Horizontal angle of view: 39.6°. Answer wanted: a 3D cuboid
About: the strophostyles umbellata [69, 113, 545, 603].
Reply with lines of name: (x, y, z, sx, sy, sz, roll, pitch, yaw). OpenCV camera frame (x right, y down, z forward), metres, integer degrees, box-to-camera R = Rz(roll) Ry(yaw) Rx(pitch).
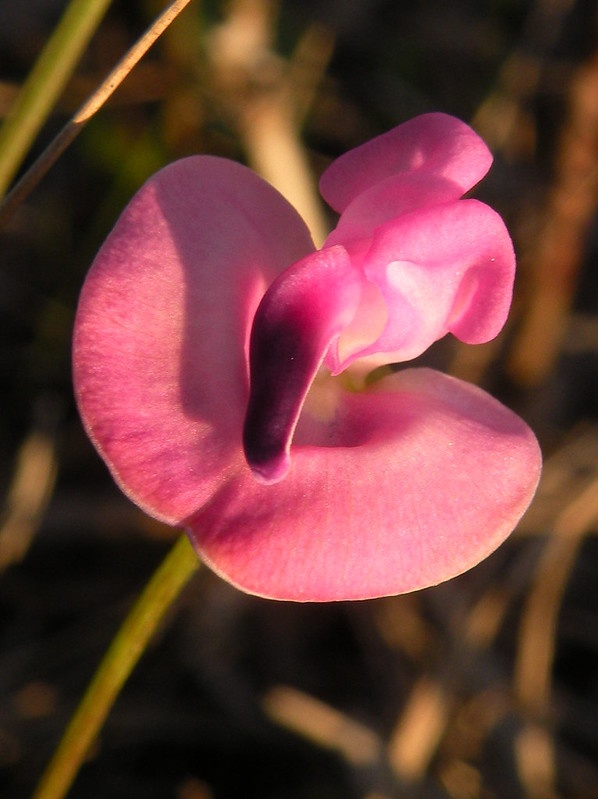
strophostyles umbellata: (0.018, -0.019, 0.476, 0.267, 0.125, 0.263, -16, 75, 0)
